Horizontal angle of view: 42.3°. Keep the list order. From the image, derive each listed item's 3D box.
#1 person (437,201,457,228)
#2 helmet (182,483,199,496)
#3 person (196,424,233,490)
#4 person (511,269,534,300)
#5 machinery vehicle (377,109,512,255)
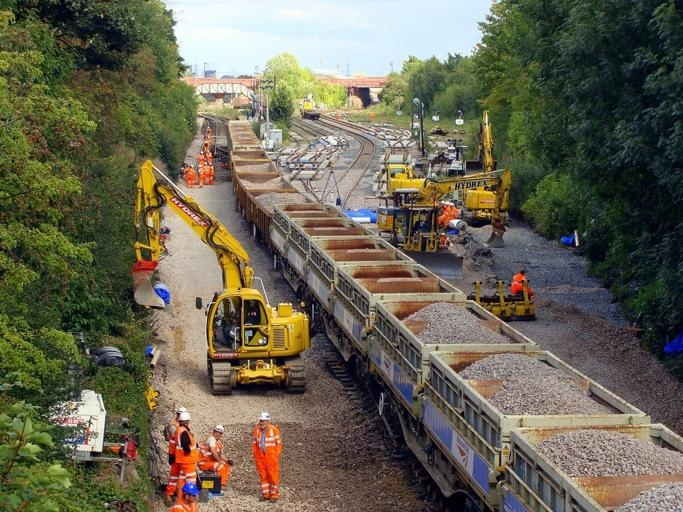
[{"bbox_3d":[4.881,-1.830,40.560,0.995,0.480,1.133,0,26,-6],"label":"person"},{"bbox_3d":[-2.979,4.643,17.410,0.279,0.178,0.222,4,5,24],"label":"helmet"},{"bbox_3d":[-2.888,4.574,20.050,0.642,1.376,0.545,4,1,13],"label":"person"},{"bbox_3d":[6.749,1.130,32.779,0.698,1.152,0.655,-12,20,-36],"label":"person"},{"bbox_3d":[4.371,-2.221,41.671,3.028,7.362,11.289,-2,6,-12],"label":"machinery vehicle"}]
